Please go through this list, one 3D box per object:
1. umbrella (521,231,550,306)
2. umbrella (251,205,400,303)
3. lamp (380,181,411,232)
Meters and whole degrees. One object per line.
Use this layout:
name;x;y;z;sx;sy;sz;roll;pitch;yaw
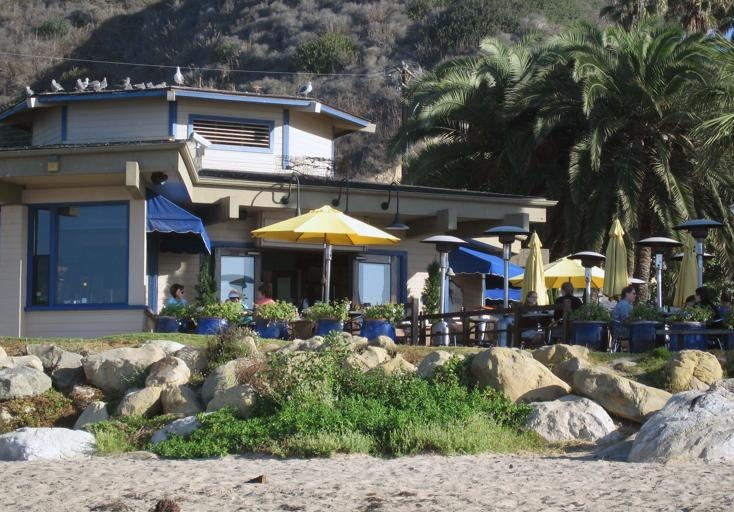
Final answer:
umbrella;5.863;0.546;54.089;0.792;2.595;0.910;-3;5;11
umbrella;-1.303;-0.679;53.270;3.423;2.934;3.788;-1;-8;19
lamp;0.992;-1.757;55.539;1.026;1.680;0.742;-5;-7;43
